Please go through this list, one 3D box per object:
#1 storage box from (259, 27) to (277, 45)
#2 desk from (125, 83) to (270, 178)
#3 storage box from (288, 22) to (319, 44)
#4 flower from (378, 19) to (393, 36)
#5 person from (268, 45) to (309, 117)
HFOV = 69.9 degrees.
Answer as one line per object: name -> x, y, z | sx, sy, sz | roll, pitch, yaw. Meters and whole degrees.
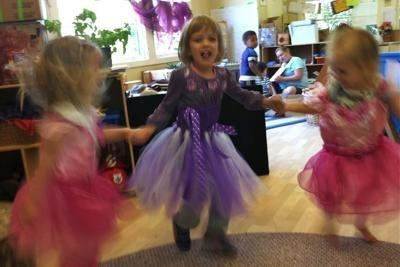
storage box -> 1.671, -2.377, 7.111 | 0.439, 0.427, 0.418 | 9, 16, 36
desk -> -0.008, 0.021, 3.359 | 1.522, 0.836, 1.096 | -1, -4, -8
storage box -> 2.470, -2.368, 6.811 | 0.618, 0.460, 0.499 | 4, 14, 28
flower -> 2.930, -1.668, 4.511 | 0.110, 0.133, 0.335 | 2, 16, 15
person -> 1.750, -1.233, 5.640 | 0.592, 0.980, 0.794 | -10, 10, -8
